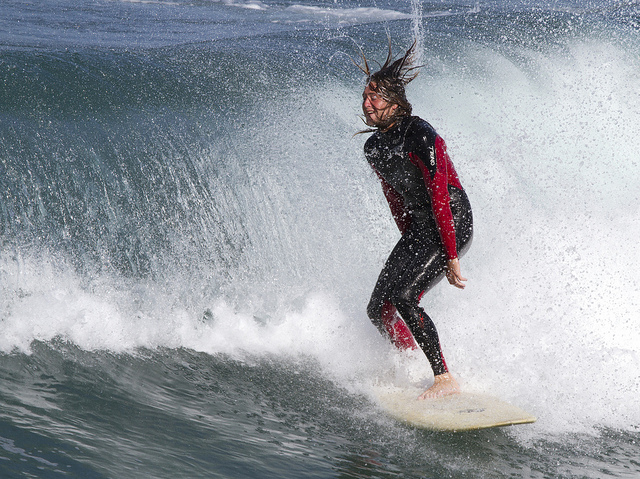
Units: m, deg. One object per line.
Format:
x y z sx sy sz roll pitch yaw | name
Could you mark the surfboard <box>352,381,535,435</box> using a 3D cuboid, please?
1.107 1.701 8.627 1.286 0.678 0.178 14 108 48 | surfboard
